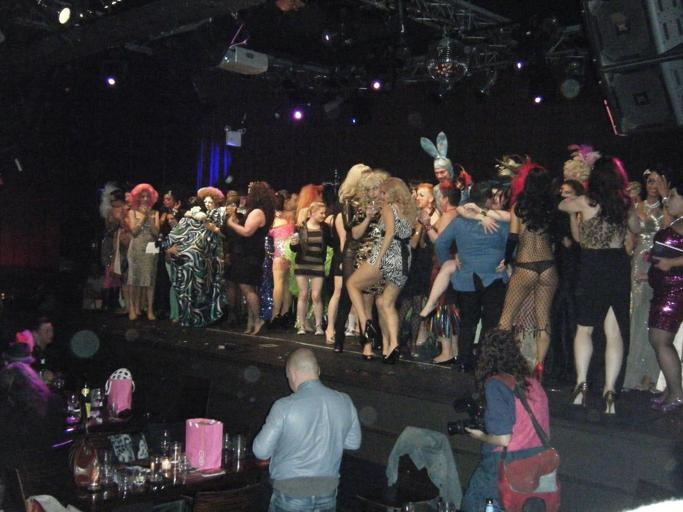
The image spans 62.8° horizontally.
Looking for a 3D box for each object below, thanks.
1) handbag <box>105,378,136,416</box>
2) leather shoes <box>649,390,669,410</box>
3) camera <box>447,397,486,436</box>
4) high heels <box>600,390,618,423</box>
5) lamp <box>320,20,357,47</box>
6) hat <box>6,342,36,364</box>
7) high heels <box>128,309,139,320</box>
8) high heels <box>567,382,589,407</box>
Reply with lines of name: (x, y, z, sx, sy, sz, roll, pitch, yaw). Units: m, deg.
handbag: (-1.997, 1.229, 5.026, 0.243, 0.360, 0.241, -2, -8, 35)
leather shoes: (2.775, 1.225, 4.875, 0.132, 0.111, 0.551, -5, -5, 29)
camera: (0.866, 1.089, 3.892, 0.249, 0.249, 0.258, -1, -2, 2)
high heels: (2.141, 1.202, 4.468, 0.108, 0.325, 0.128, -1, 3, 25)
lamp: (-0.058, -3.493, 8.857, 0.451, 0.252, 0.335, -3, -4, 15)
hat: (-2.921, 0.871, 5.111, 0.189, 0.211, 0.207, 12, 25, -26)
high heels: (-3.418, 0.972, 9.189, 0.126, 0.169, 0.196, 4, -8, -17)
high heels: (2.019, 1.158, 4.723, 0.180, 0.191, 0.116, -1, -4, -17)
